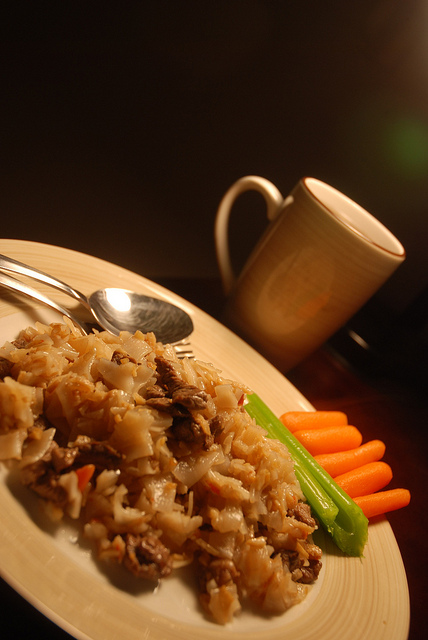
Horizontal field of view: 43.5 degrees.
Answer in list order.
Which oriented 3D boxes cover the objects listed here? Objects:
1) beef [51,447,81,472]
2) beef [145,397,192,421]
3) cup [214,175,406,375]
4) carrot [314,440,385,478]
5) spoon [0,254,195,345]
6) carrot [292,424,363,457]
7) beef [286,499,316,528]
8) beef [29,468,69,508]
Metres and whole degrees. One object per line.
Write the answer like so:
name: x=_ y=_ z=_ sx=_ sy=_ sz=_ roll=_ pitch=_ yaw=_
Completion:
beef: x=-0.199 y=0.184 z=0.713 sx=0.029 sy=0.013 sz=0.029 roll=10 pitch=43 yaw=-13
beef: x=-0.068 y=0.139 z=0.841 sx=0.045 sy=0.012 sz=0.045 roll=20 pitch=-2 yaw=-16
cup: x=0.185 y=-0.163 z=1.491 sx=0.471 sy=0.452 sz=0.314 roll=42 pitch=32 yaw=7
carrot: x=0.333 y=0.320 z=1.318 sx=0.224 sy=0.068 sz=0.060 roll=-12 pitch=17 yaw=-40
spoon: x=-0.185 y=0.013 z=1.295 sx=0.692 sy=0.091 sz=0.124 roll=30 pitch=43 yaw=-56
carrot: x=0.280 y=0.288 z=1.305 sx=0.149 sy=0.070 sz=0.048 roll=0 pitch=6 yaw=-32
beef: x=0.149 y=0.338 z=0.940 sx=0.071 sy=0.016 sz=0.051 roll=25 pitch=13 yaw=-16
beef: x=-0.214 y=0.219 z=0.692 sx=0.065 sy=0.027 sz=0.092 roll=6 pitch=13 yaw=-21
